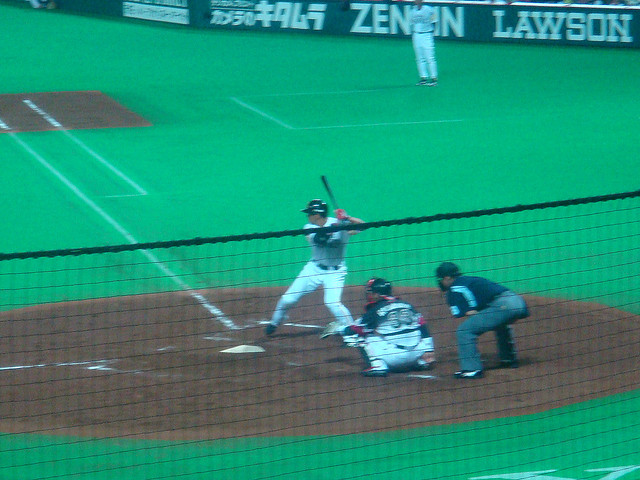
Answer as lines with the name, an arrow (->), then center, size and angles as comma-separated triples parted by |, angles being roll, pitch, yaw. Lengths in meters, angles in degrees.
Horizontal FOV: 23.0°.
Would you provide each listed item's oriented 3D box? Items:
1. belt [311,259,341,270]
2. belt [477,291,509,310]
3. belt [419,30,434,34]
belt -> 0.138, 0.484, 31.204 | 0.569, 0.188, 0.107 | 2, 28, 2
belt -> 3.242, 1.130, 29.699 | 0.580, 0.300, 0.100 | -14, 34, -35
belt -> 2.729, -5.251, 39.572 | 0.355, 0.070, 0.088 | -6, 24, -20
